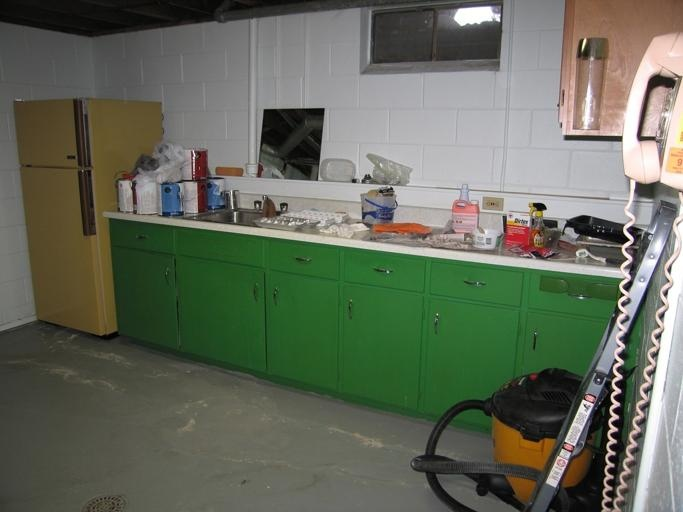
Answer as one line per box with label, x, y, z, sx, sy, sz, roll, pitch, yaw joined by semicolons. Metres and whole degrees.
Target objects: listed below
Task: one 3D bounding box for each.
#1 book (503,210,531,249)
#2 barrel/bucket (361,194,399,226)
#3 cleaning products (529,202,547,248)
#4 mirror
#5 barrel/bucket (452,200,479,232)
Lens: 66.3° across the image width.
book;1.013;-0.150;3.010;0.149;0.190;0.127;6;16;19
barrel/bucket;0.250;-0.310;3.612;0.318;0.271;0.186;2;6;15
cleaning products;1.129;-0.178;3.021;0.095;0.236;0.233;7;16;19
mirror;-0.390;-0.872;4.012;0.594;0.538;0.138;2;4;26
barrel/bucket;0.777;-0.248;3.297;0.211;0.283;0.102;2;7;26
